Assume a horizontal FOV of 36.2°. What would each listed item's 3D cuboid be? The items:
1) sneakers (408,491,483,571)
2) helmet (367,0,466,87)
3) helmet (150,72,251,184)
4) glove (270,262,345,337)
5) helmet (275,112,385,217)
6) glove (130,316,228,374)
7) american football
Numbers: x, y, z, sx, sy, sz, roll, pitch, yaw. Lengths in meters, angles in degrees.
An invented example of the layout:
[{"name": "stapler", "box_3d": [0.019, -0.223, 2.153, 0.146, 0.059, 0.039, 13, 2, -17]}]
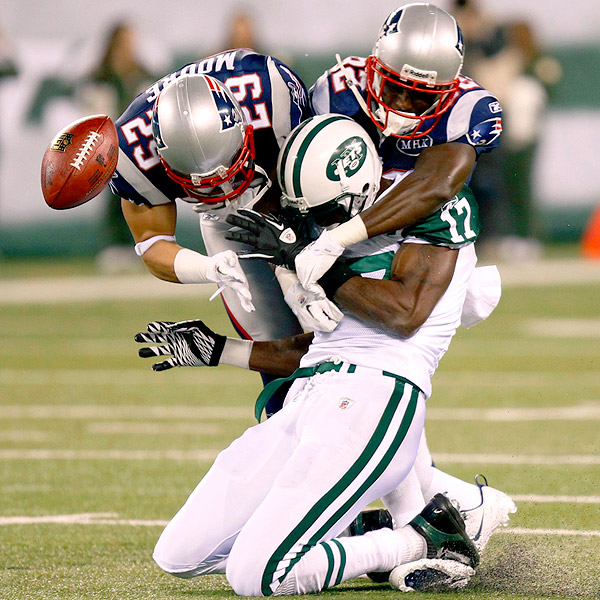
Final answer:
[{"name": "sneakers", "box_3d": [0.409, 0.657, 2.625, 0.135, 0.292, 0.100, -43, 16, 2]}, {"name": "helmet", "box_3d": [0.372, -0.793, 2.837, 0.312, 0.239, 0.310, 12, 38, 0]}, {"name": "helmet", "box_3d": [-0.348, -0.528, 2.836, 0.335, 0.285, 0.341, -16, 39, -5]}, {"name": "glove", "box_3d": [-0.007, 0.002, 2.740, 0.257, 0.129, 0.089, 33, 54, 30]}, {"name": "helmet", "box_3d": [0.007, -0.392, 2.813, 0.343, 0.284, 0.364, 9, 35, 16]}, {"name": "glove", "box_3d": [-0.392, 0.146, 2.927, 0.237, 0.224, 0.220, 2, 33, 16]}, {"name": "american football", "box_3d": [-0.678, -0.431, 2.834, 0.195, 0.239, 0.232, -1, 32, 12]}]
